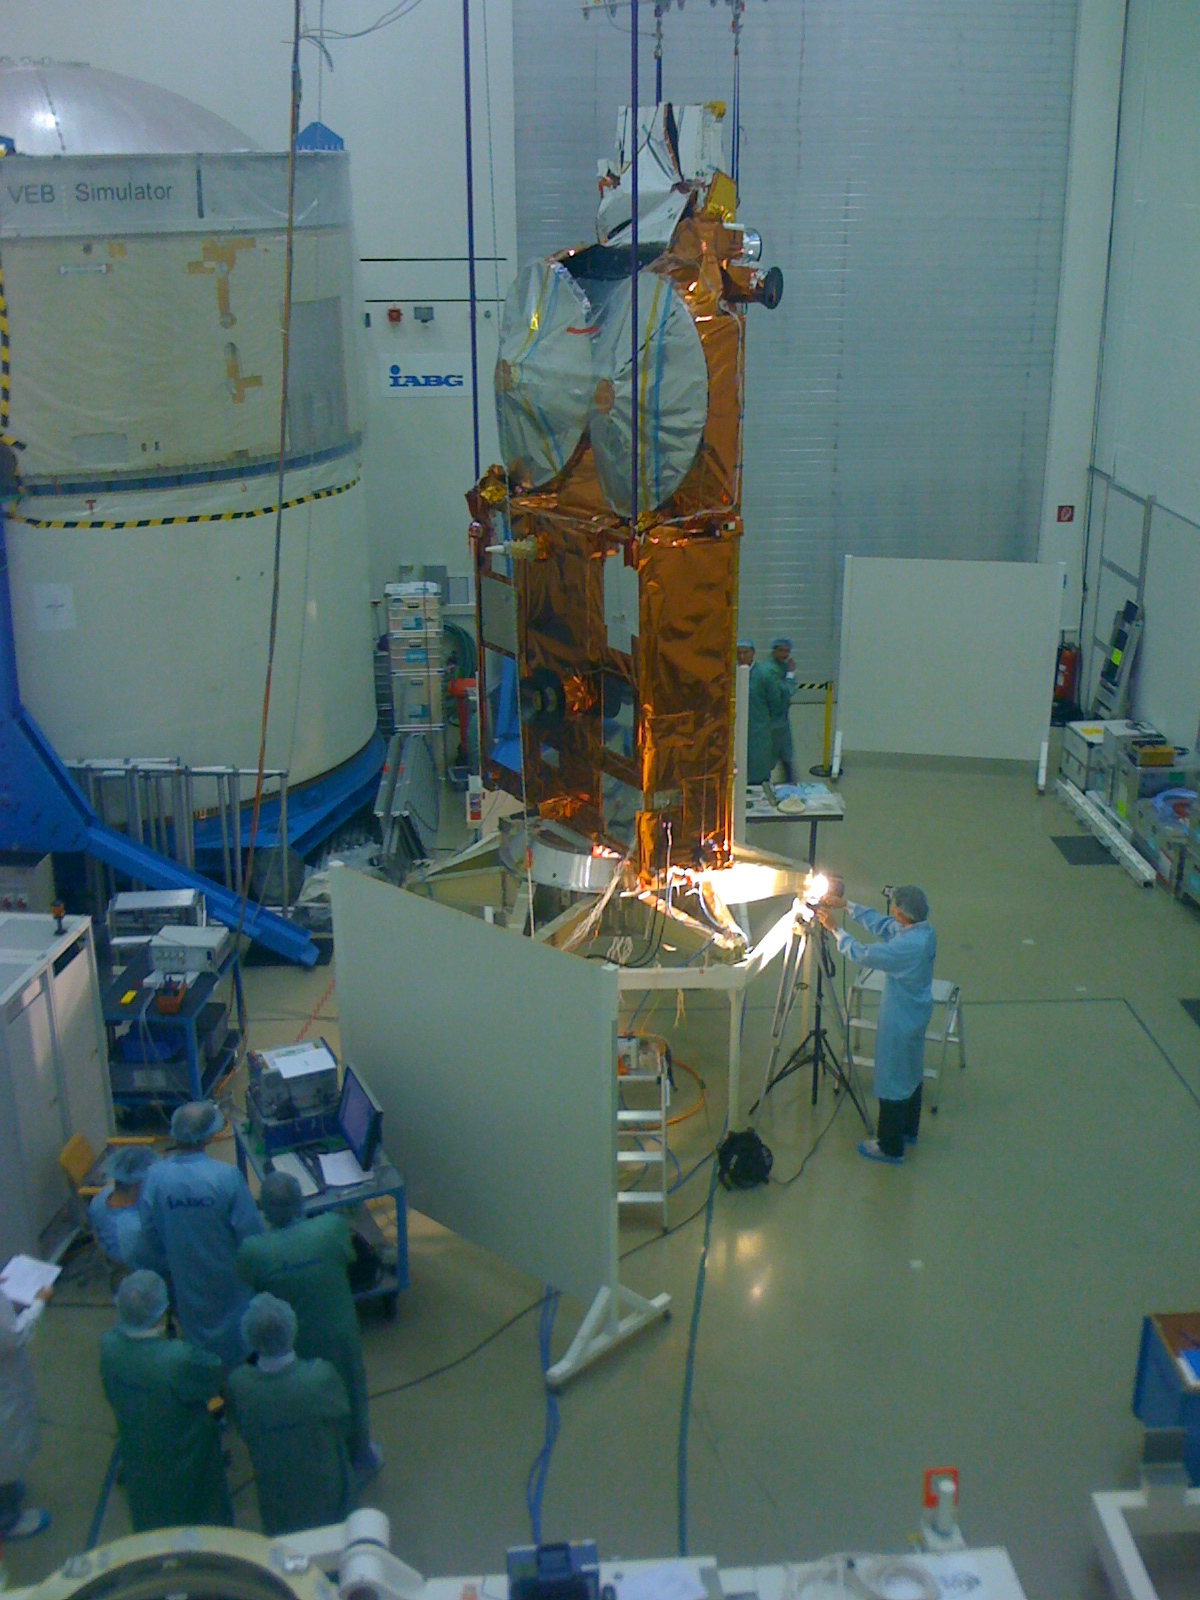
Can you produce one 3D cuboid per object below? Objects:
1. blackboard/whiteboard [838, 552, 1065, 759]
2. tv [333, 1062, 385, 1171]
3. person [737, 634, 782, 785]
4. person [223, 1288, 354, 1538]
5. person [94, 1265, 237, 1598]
[{"bbox_3d":[2.918,-1.176,11.370,1.747,1.722,0.201,3,22,9],"label":"blackboard/whiteboard"},{"bbox_3d":[-0.988,1.302,5.474,0.061,0.265,0.370,-5,24,-23],"label":"tv"},{"bbox_3d":[1.302,-0.619,10.548,0.290,1.134,0.628,2,17,9],"label":"person"},{"bbox_3d":[-0.924,1.844,4.022,0.341,0.931,0.256,-5,17,-15],"label":"person"},{"bbox_3d":[-1.302,1.861,4.075,0.342,0.985,0.262,-5,17,-15],"label":"person"}]
